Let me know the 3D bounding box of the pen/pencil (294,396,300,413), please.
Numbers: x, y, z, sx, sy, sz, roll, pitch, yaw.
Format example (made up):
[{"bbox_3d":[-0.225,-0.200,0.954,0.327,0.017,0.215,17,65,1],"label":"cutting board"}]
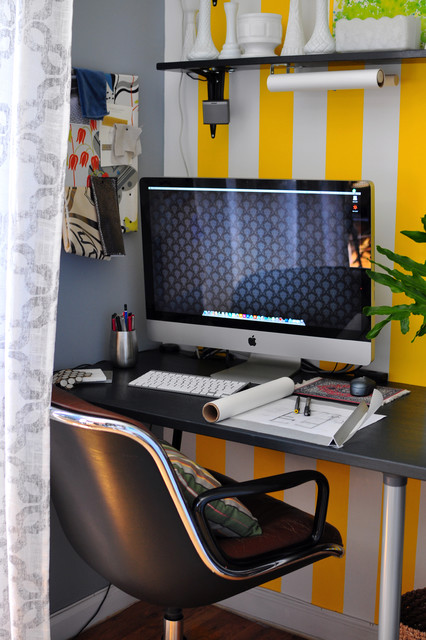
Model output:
[{"bbox_3d":[0.198,0.194,1.238,0.009,0.014,0.056,-15,20,20],"label":"pen/pencil"}]

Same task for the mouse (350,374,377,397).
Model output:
[{"bbox_3d":[0.371,0.166,1.333,0.035,0.030,0.062,0,3,30],"label":"mouse"}]

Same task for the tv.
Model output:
[{"bbox_3d":[0.134,-0.112,1.590,0.711,0.563,0.214,6,17,31],"label":"tv"}]

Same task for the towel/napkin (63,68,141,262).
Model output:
[{"bbox_3d":[-0.319,-0.471,1.627,0.107,0.568,0.386,2,9,17],"label":"towel/napkin"}]
